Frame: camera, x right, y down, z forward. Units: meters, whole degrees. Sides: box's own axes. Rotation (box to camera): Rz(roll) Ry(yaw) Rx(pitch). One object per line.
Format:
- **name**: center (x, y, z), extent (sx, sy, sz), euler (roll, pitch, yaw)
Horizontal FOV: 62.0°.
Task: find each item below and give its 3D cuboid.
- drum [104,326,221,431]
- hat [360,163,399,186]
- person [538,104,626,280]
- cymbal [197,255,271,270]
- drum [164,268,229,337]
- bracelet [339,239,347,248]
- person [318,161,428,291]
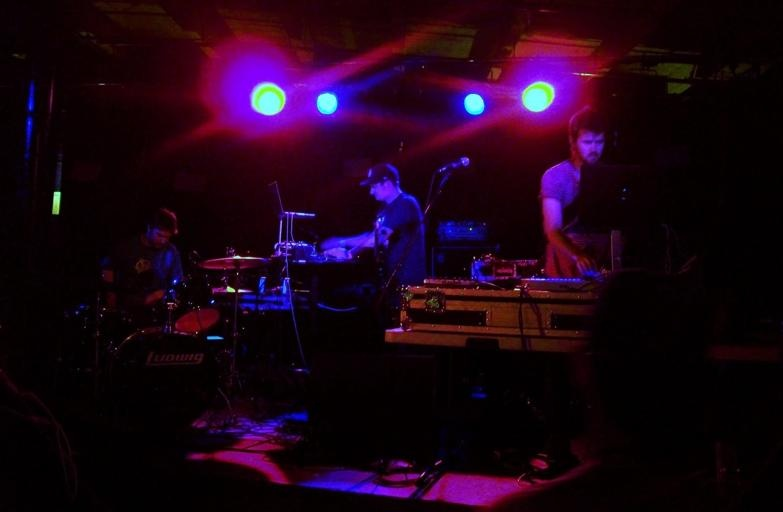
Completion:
- **drum**: center (-1.973, 1.110, 6.172), extent (0.798, 1.066, 1.114), euler (-8, -11, 39)
- **hat**: center (-0.107, -0.845, 6.831), extent (0.427, 0.214, 0.305), euler (1, 3, 1)
- **person**: center (1.457, -0.570, 5.201), extent (0.575, 1.574, 1.594), euler (-1, -5, 14)
- **cymbal**: center (-1.639, 0.061, 6.737), extent (0.686, 0.197, 0.766), euler (2, -6, -23)
- **drum**: center (-1.987, 0.457, 6.567), extent (0.296, 0.660, 0.666), euler (-2, -6, 22)
- **bracelet**: center (-0.549, -0.140, 7.284), extent (0.064, 0.059, 0.015), euler (8, 10, -45)
- **person**: center (-0.099, -0.321, 6.793), extent (0.826, 1.284, 1.050), euler (2, -6, -18)
